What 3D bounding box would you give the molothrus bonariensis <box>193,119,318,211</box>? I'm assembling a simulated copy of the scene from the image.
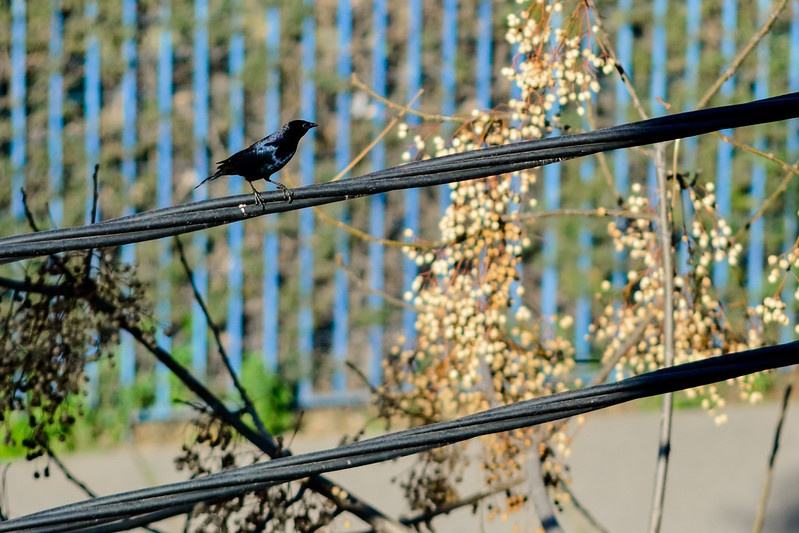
[{"bbox_3d":[-1.095,-0.829,15.716,0.879,0.328,0.606,5,-83,12],"label":"molothrus bonariensis"}]
